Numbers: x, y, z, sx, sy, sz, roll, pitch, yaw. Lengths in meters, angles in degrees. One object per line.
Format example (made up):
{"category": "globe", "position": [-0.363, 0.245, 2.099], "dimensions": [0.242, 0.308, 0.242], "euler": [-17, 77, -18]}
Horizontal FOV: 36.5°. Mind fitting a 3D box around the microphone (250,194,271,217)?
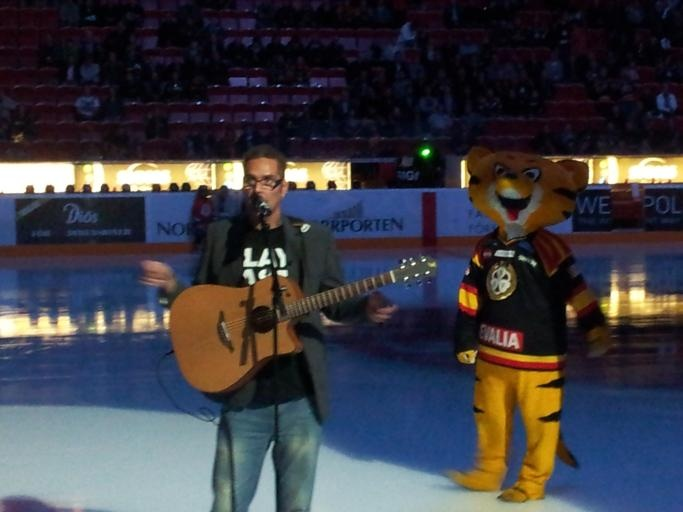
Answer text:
{"category": "microphone", "position": [-0.849, -0.532, 10.975], "dimensions": [0.145, 0.259, 0.192], "euler": [-14, 25, 23]}
